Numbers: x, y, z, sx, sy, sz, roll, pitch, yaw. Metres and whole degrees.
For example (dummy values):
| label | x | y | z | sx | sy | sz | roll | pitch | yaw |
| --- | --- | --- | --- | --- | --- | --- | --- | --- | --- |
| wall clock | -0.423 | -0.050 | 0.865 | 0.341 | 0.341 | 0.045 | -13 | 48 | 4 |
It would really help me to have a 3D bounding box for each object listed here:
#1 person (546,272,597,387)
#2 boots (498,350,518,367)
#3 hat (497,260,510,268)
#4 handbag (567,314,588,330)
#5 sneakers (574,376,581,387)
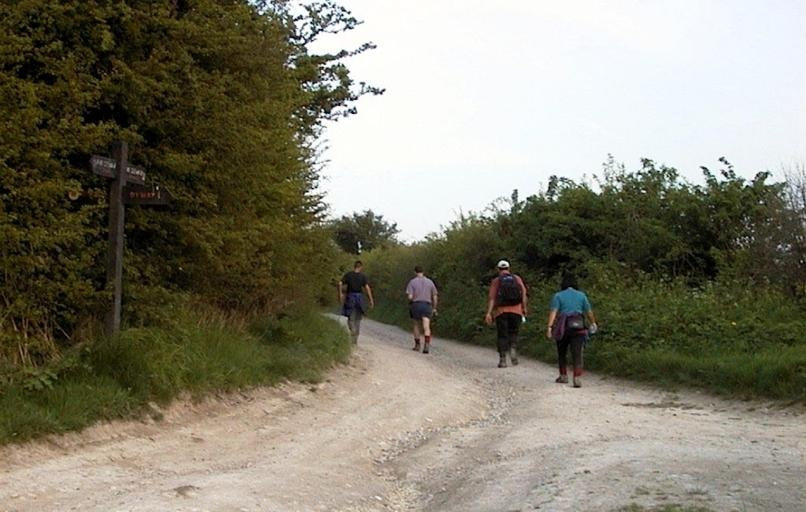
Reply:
| label | x | y | z | sx | sy | sz | roll | pitch | yaw |
| --- | --- | --- | --- | --- | --- | --- | --- | --- | --- |
| person | 3.718 | 1.658 | 16.542 | 1.011 | 2.330 | 1.151 | 4 | 6 | 33 |
| boots | 2.631 | 2.548 | 18.638 | 0.271 | 0.606 | 0.847 | -1 | 4 | -6 |
| hat | 2.710 | 0.217 | 20.132 | 0.302 | 0.156 | 0.459 | -1 | 2 | 4 |
| handbag | 3.770 | 1.480 | 16.294 | 0.408 | 0.423 | 0.315 | 1 | -17 | -11 |
| sneakers | 3.764 | 2.710 | 16.157 | 0.187 | 0.208 | 0.388 | 1 | 5 | 12 |
